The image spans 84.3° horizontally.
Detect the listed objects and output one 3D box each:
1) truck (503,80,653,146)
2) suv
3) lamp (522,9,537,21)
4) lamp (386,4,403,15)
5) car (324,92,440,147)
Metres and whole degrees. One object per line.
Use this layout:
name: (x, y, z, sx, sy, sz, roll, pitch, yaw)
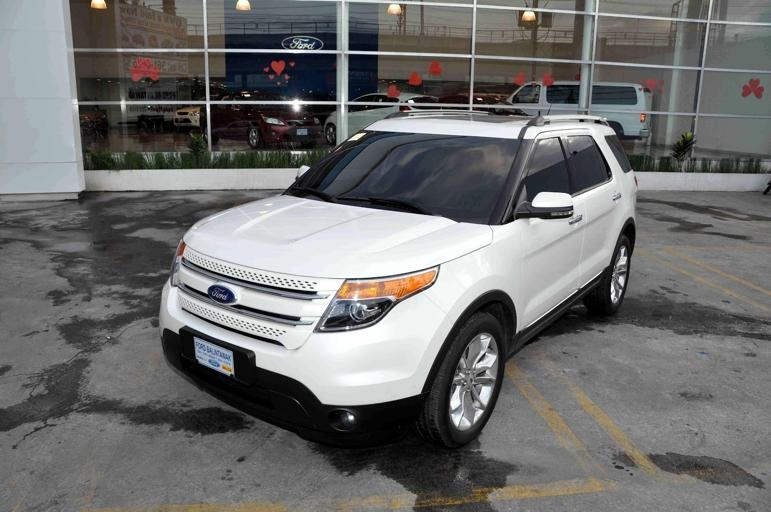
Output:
truck: (7.464, -5.952, 18.029, 6.116, 2.391, 3.003, 8, 15, 10)
suv: (0.680, -0.016, 4.251, 2.695, 1.740, 4.459, 10, 17, 38)
lamp: (5.444, -9.002, 16.045, 0.528, 0.403, 0.114, -5, 17, -18)
lamp: (0.324, -8.938, 15.581, 0.454, 0.236, 0.430, -9, 22, -20)
car: (-0.292, -5.010, 16.413, 4.426, 1.851, 2.479, 16, 12, 37)
